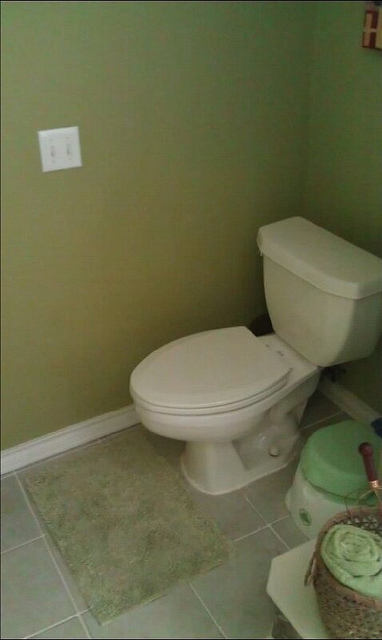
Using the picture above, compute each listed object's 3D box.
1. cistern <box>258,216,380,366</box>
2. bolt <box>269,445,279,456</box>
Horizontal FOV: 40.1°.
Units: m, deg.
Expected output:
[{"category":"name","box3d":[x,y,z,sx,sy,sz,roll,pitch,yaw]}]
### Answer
[{"category":"cistern","box3d":[0.362,-0.079,1.472,0.216,0.253,0.349,-17,39,-17]},{"category":"bolt","box3d":[0.251,0.399,1.593,0.021,0.027,0.008,4,1,14]}]
